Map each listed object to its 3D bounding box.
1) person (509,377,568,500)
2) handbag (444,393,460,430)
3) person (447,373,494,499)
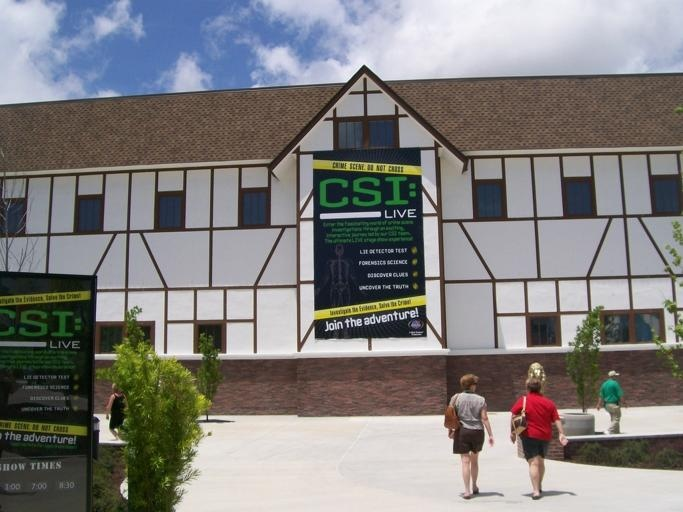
[{"bbox_3d":[4.301,3.981,17.368,1.128,2.556,0.838,-5,-13,12],"label":"person"},{"bbox_3d":[2.437,3.459,17.574,0.299,0.763,0.510,-4,-13,7],"label":"handbag"},{"bbox_3d":[2.795,3.972,17.503,0.957,2.617,0.653,-4,-12,7],"label":"person"}]
